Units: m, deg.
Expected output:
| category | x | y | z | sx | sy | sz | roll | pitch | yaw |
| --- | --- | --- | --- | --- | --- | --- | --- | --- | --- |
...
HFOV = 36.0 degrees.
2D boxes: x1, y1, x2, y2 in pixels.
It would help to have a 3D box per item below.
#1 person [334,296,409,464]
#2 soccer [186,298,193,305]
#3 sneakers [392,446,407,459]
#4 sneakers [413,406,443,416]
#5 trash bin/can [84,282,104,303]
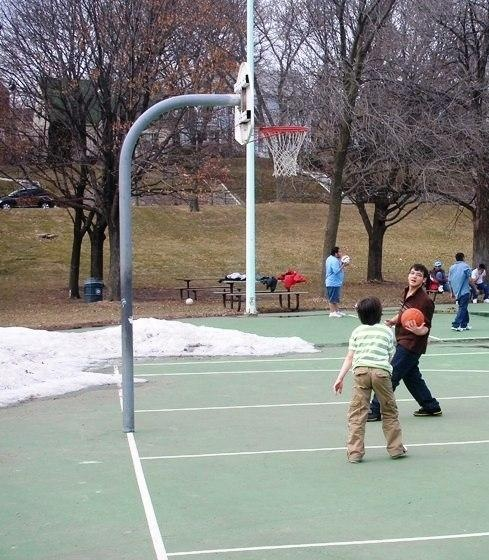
| category | x | y | z | sx | sy | sz | roll | pitch | yaw |
| --- | --- | --- | --- | --- | --- | --- | --- | --- | --- |
| person | 1.170 | 0.921 | 7.060 | 0.677 | 1.525 | 0.412 | -1 | 4 | -5 |
| soccer | -1.883 | 0.779 | 25.890 | 0.214 | 0.235 | 0.201 | 5 | 38 | 23 |
| sneakers | 1.459 | 1.627 | 7.130 | 0.074 | 0.092 | 0.225 | -3 | 7 | 28 |
| sneakers | 2.178 | 1.579 | 9.020 | 0.337 | 0.135 | 0.118 | 2 | -1 | 4 |
| trash bin/can | -5.545 | 0.446 | 27.816 | 0.796 | 0.826 | 0.733 | 0 | -3 | -16 |
